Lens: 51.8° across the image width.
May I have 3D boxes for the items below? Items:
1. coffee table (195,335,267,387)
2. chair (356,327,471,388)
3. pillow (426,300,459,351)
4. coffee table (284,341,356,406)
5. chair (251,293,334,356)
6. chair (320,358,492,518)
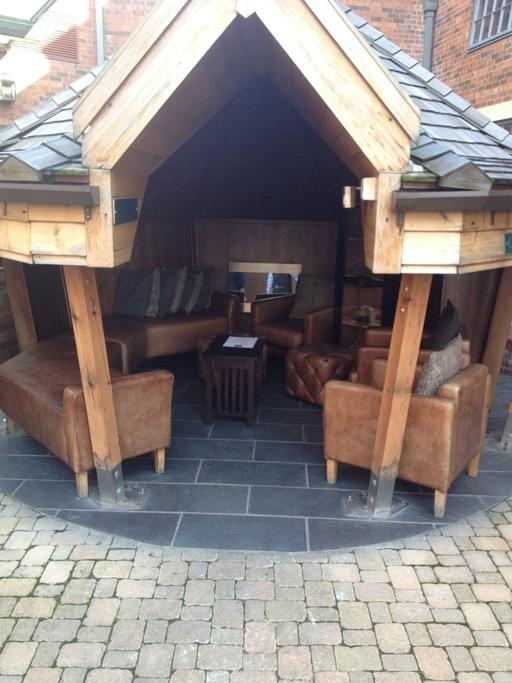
[{"bbox_3d":[-0.242,0.195,5.055,0.555,0.367,0.526,0,7,-2],"label":"coffee table"},{"bbox_3d":[1.148,0.110,4.075,0.653,0.502,0.592,10,18,23],"label":"chair"},{"bbox_3d":[1.431,-0.128,4.016,0.179,0.333,0.492,3,7,13],"label":"pillow"},{"bbox_3d":[0.578,0.251,4.980,0.602,0.449,0.589,6,10,27],"label":"coffee table"},{"bbox_3d":[0.430,-0.256,5.908,0.696,0.639,0.740,11,13,32],"label":"chair"},{"bbox_3d":[0.960,0.403,3.512,0.977,0.922,0.989,9,16,31],"label":"chair"}]
